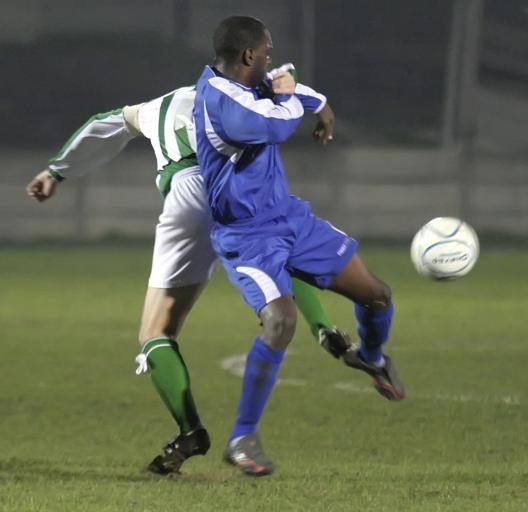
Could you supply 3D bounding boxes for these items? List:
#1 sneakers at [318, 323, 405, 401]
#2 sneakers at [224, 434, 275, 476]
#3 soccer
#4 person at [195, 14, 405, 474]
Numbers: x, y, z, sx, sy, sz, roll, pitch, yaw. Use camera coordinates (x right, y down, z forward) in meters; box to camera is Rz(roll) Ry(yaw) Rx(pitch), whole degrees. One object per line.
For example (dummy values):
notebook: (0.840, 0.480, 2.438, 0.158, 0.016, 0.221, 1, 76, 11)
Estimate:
sneakers: (0.503, 0.574, 5.184, 0.448, 0.136, 0.190, 43, 32, 9)
sneakers: (-0.059, 0.850, 4.271, 0.231, 0.156, 0.130, 23, 0, 10)
soccer: (0.881, -0.030, 4.760, 0.337, 0.333, 0.355, -1, 17, 2)
person: (0.165, -0.071, 4.331, 0.877, 1.949, 0.432, -6, 11, -21)
